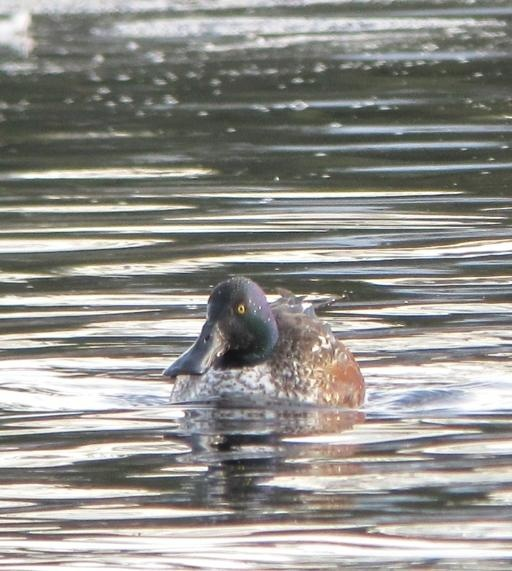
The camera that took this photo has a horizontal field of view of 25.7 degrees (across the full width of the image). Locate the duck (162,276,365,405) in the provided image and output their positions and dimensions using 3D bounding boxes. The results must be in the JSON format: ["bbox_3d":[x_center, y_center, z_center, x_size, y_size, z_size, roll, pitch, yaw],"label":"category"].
[{"bbox_3d":[0.075,0.359,6.436,0.792,0.501,1.144,-3,8,25],"label":"duck"}]
